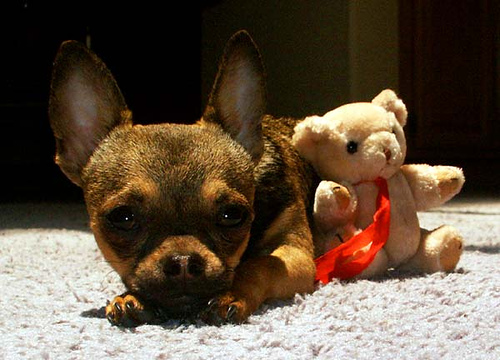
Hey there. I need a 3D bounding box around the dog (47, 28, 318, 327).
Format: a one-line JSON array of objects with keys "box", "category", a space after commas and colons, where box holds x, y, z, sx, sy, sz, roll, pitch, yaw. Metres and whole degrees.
[{"box": [-0.250, -0.045, 2.975, 1.328, 1.346, 0.800, -3, 9, -18], "category": "dog"}]
